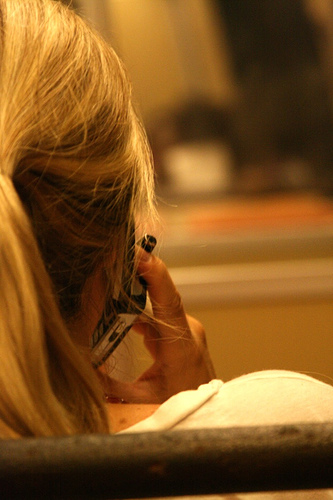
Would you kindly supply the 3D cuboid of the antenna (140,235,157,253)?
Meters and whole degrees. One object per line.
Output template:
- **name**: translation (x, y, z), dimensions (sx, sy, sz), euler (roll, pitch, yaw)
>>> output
- **antenna**: translation (-0.020, -0.008, 0.629), dimensions (0.018, 0.019, 0.018), euler (1, -14, 30)
